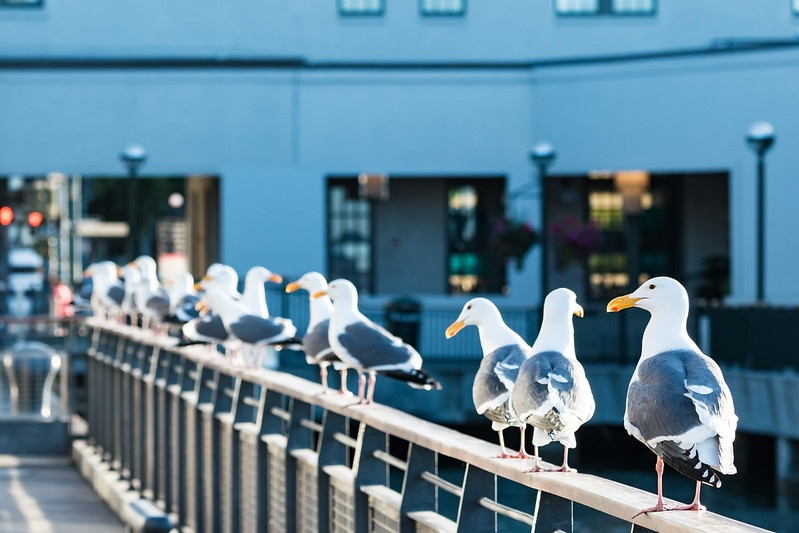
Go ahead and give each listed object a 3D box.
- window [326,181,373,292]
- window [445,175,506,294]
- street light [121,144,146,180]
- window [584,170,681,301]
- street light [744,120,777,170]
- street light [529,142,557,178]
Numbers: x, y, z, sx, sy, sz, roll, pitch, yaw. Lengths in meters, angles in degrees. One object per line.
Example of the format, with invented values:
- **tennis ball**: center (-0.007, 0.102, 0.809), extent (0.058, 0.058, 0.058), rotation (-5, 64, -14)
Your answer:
- **window**: center (-0.925, -0.422, 33.676), extent (0.836, 2.313, 0.189), rotation (1, -25, -5)
- **window**: center (0.999, -0.383, 25.952), extent (1.144, 2.200, 0.238), rotation (1, 7, 0)
- **street light**: center (-3.553, -1.406, 24.867), extent (0.321, 0.386, 0.326), rotation (0, -1, -18)
- **window**: center (4.669, 0.039, 37.848), extent (1.833, 3.478, 2.345), rotation (-2, -33, 10)
- **street light**: center (3.357, -1.166, 17.533), extent (0.307, 0.480, 0.316), rotation (0, -4, -1)
- **street light**: center (1.339, -0.969, 17.722), extent (0.306, 0.447, 0.313), rotation (1, 4, 22)
